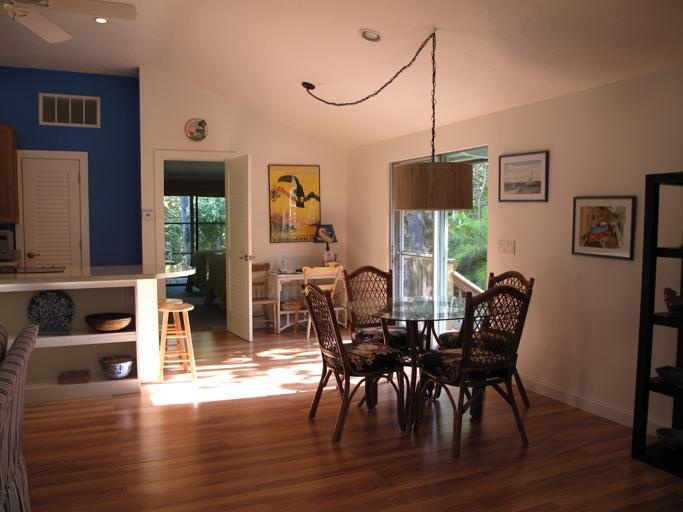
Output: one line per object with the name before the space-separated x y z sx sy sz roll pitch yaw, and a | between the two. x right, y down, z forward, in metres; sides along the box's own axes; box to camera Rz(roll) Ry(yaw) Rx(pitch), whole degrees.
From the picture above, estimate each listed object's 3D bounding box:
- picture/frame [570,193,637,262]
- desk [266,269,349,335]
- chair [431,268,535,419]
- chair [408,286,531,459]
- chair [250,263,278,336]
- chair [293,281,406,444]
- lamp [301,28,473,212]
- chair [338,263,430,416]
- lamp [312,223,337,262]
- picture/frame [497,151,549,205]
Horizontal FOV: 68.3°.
picture/frame | 2.039 -0.223 3.891 0.042 0.570 0.502 0 3 -35
desk | -0.435 0.606 6.981 0.915 0.886 0.561 0 10 -6
chair | 1.121 0.766 4.149 0.702 1.179 0.812 0 12 3
chair | 0.942 0.800 3.744 0.660 1.150 0.726 -1 2 -28
chair | -1.138 0.562 6.733 0.552 0.922 0.601 -2 1 -4
chair | 0.085 0.757 4.223 1.048 1.505 0.855 -3 5 -20
lamp | 0.467 -1.422 5.074 1.514 1.398 0.567 3 11 21
chair | 0.330 0.710 4.495 0.547 1.038 0.631 -5 18 -15
lamp | -0.213 -0.169 7.218 0.327 0.595 0.324 -4 7 0
picture/frame | 1.636 -0.705 4.503 0.050 0.482 0.500 -2 4 -32
